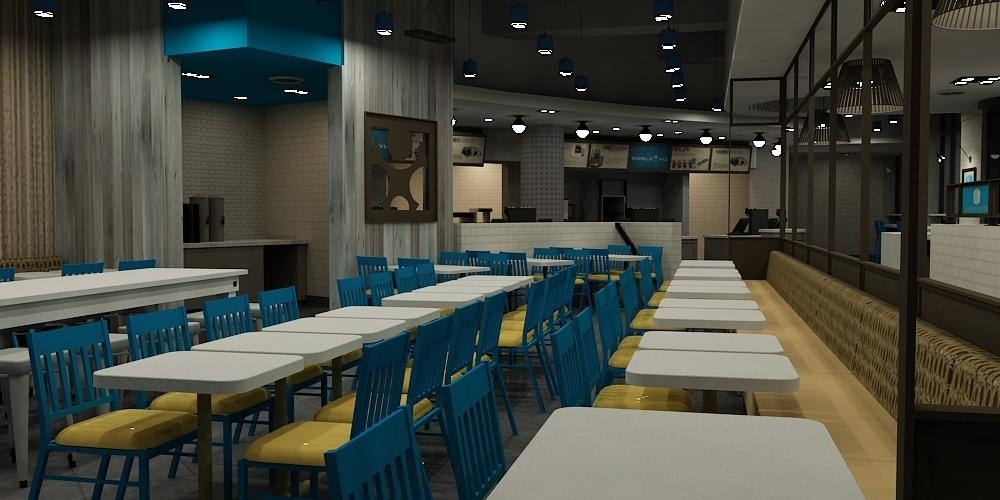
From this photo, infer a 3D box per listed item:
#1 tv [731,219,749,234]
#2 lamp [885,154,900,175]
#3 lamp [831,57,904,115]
[{"bbox_3d":[5.854,-0.568,15.293,0.666,0.382,0.152,6,17,-43],"label":"tv"},{"bbox_3d":[12.499,-2.719,20.031,0.386,0.581,2.346,4,8,30],"label":"lamp"},{"bbox_3d":[4.816,-2.181,8.126,0.737,0.693,1.282,2,7,17],"label":"lamp"}]
